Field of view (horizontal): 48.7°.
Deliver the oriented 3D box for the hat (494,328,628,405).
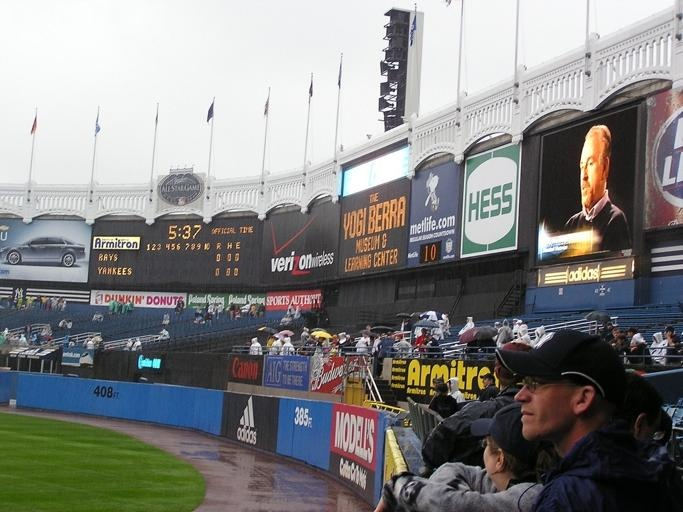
[{"bbox_3d":[1.158,0.539,3.984,0.786,0.320,0.507,13,-8,10],"label":"hat"}]
